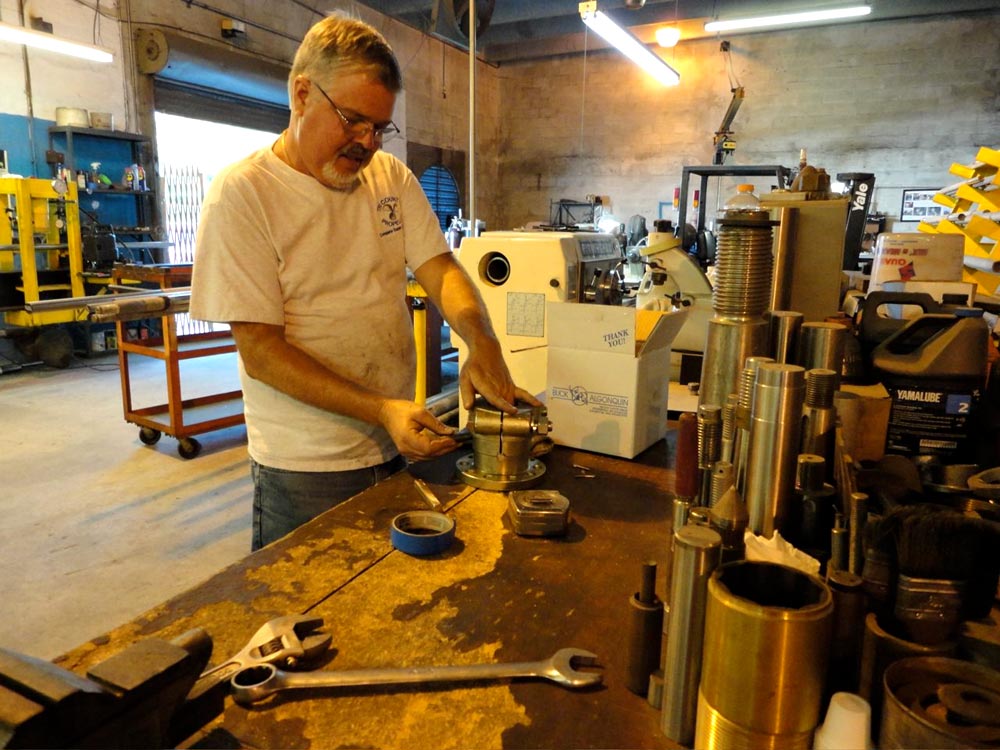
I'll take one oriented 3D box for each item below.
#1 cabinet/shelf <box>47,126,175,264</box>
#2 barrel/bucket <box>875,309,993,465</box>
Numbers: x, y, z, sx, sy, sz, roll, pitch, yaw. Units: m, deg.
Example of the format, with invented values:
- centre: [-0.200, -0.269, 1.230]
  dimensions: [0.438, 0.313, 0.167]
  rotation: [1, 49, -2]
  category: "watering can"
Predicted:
- centre: [-3.044, -1.427, 6.167]
  dimensions: [0.573, 1.064, 1.023]
  rotation: [8, 16, 18]
  category: "cabinet/shelf"
- centre: [0.857, 0.020, 1.544]
  dimensions: [0.167, 0.282, 0.177]
  rotation: [3, 15, -1]
  category: "barrel/bucket"
